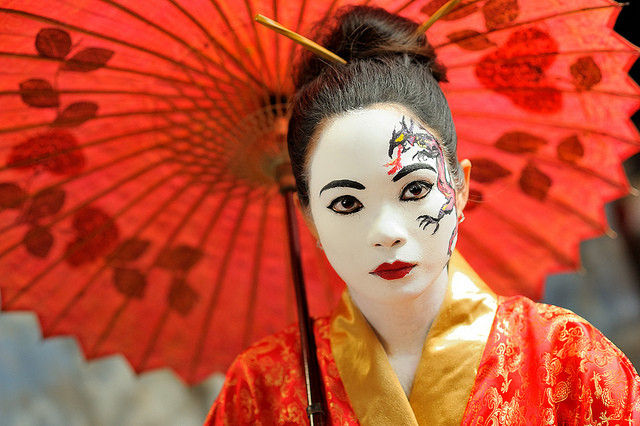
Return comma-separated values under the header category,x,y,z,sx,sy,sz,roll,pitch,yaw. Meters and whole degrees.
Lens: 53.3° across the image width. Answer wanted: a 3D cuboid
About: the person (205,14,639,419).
category,x,y,z,sx,sy,sz,roll,pitch,yaw
person,0.331,-0.012,2.272,1.426,1.334,0.750,-11,-9,11
